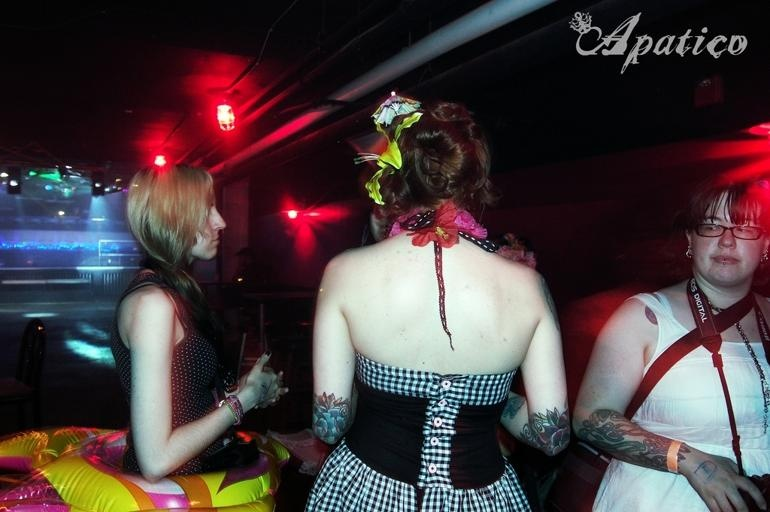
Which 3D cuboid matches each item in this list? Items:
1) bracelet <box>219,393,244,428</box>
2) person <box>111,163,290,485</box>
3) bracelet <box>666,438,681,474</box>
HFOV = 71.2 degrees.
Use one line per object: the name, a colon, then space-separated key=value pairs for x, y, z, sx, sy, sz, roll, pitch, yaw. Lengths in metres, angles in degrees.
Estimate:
bracelet: x=-0.720 y=0.730 z=2.546 sx=0.124 sy=0.137 sz=0.071 roll=-11 pitch=-3 yaw=-33
person: x=-0.904 y=0.276 z=2.528 sx=0.624 sy=1.412 sz=0.401 roll=0 pitch=2 yaw=-35
bracelet: x=1.273 y=0.883 z=2.375 sx=0.056 sy=0.132 sz=0.040 roll=2 pitch=2 yaw=29
